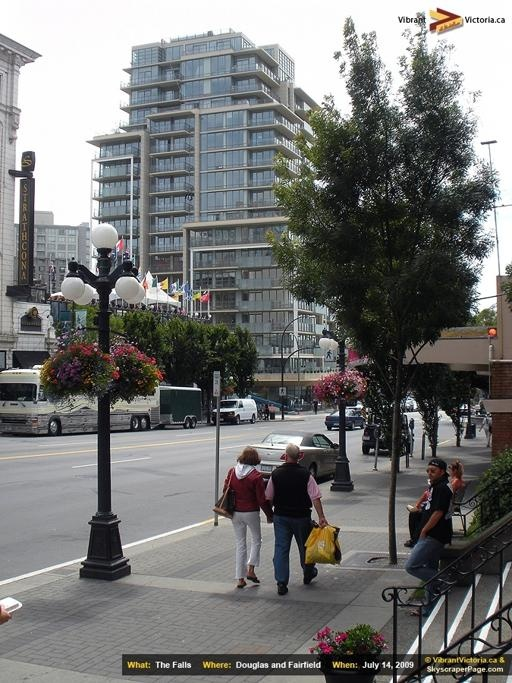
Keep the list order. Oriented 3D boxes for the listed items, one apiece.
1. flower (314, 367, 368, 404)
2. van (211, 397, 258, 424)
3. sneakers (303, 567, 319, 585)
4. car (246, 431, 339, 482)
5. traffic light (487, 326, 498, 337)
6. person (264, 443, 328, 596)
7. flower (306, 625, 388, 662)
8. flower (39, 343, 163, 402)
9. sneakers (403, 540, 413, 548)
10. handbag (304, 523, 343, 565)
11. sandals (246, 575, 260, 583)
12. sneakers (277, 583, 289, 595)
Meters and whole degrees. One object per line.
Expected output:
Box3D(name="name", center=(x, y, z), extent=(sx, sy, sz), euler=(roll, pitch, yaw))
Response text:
Box3D(name="flower", center=(1.889, 1.028, 20.130), extent=(0.888, 0.636, 0.870), euler=(-7, -7, 42))
Box3D(name="van", center=(-1.404, 4.128, 54.378), extent=(2.019, 1.543, 3.925), euler=(-4, -10, 16))
Box3D(name="sneakers", center=(0.593, 2.555, 9.763), extent=(0.098, 0.116, 0.270), euler=(3, 42, 21))
Box3D(name="car", center=(0.940, 2.639, 20.504), extent=(1.267, 0.983, 2.869), euler=(-1, -2, 26))
Box3D(name="traffic light", center=(4.911, -0.200, 18.368), extent=(0.150, 0.215, 0.353), euler=(-1, -2, 12))
Box3D(name="person", center=(0.396, 1.871, 9.552), extent=(0.588, 1.507, 0.631), euler=(0, -2, 0))
Box3D(name="flower", center=(0.656, 2.108, 6.395), extent=(0.394, 0.214, 0.405), euler=(0, -11, -4))
Box3D(name="flower", center=(-1.910, 0.367, 10.744), extent=(0.854, 0.764, 1.393), euler=(-1, -2, 29))
Box3D(name="sneakers", center=(2.028, 2.666, 11.860), extent=(0.103, 0.122, 0.286), euler=(-3, -18, 3))
Box3D(name="handbag", center=(0.687, 2.115, 9.261), extent=(0.355, 0.429, 0.403), euler=(0, -2, 3))
Box3D(name="sandals", center=(-0.030, 2.594, 9.764), extent=(0.134, 0.104, 0.174), euler=(0, -2, 0))
Box3D(name="sneakers", center=(0.275, 2.567, 9.313), extent=(0.116, 0.103, 0.213), euler=(0, -2, 0))
